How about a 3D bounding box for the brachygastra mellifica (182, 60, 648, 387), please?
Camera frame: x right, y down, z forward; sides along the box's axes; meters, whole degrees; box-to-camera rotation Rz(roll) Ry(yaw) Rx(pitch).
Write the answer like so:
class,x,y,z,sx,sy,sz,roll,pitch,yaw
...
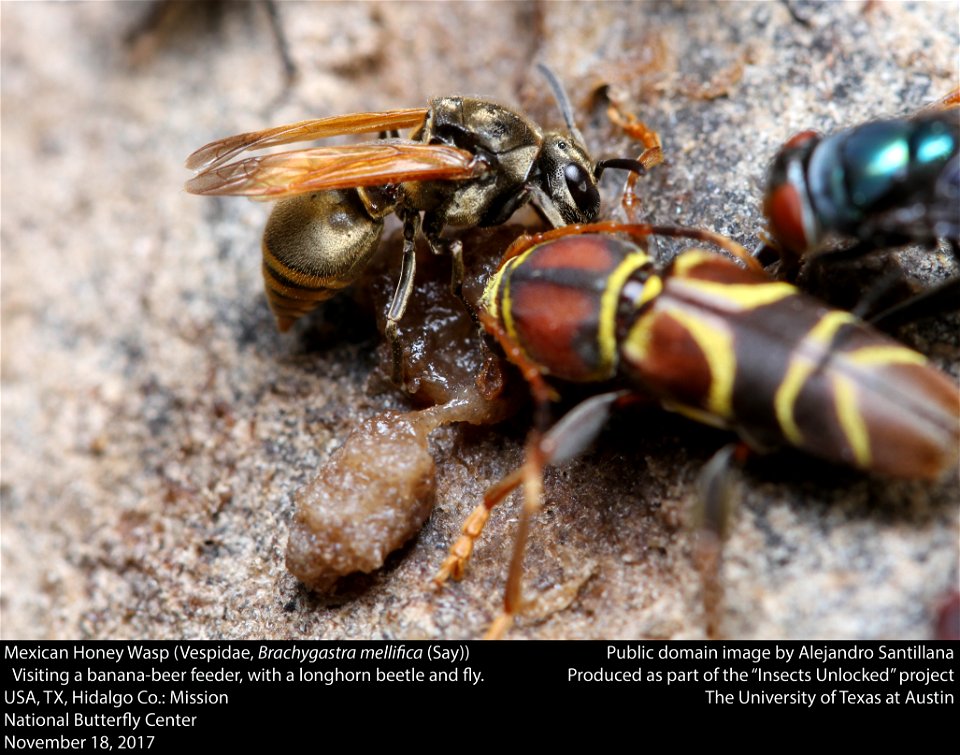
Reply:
class,x,y,z,sx,sy,sz,roll,pitch,yaw
brachygastra mellifica,-0.215,-0.681,4.428,2.065,1.375,0.790,-7,-70,-2
